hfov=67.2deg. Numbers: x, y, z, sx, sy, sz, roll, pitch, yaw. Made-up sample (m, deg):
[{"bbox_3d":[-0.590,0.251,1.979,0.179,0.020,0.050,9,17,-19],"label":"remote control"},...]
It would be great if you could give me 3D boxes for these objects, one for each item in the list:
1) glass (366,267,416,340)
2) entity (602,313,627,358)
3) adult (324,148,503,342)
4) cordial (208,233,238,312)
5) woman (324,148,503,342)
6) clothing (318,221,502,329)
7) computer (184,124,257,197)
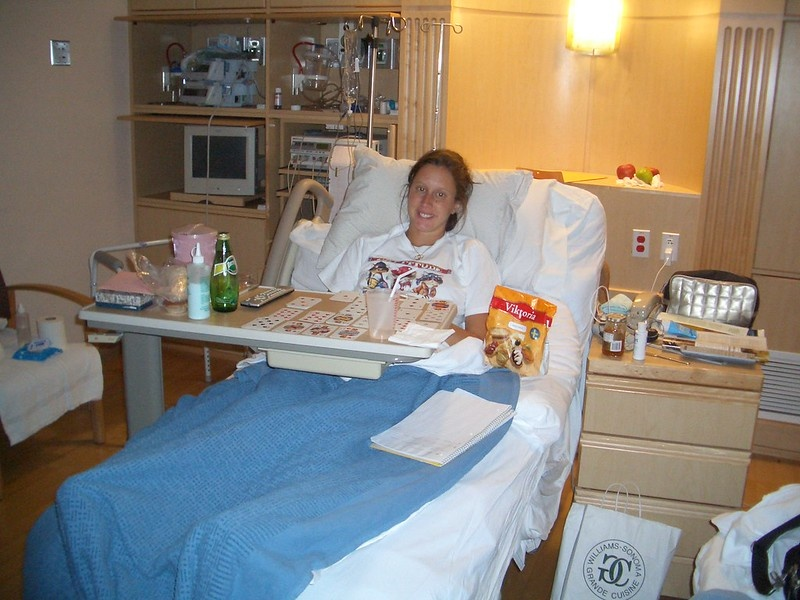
[{"bbox_3d":[-0.059,0.030,1.862,0.102,0.173,0.173,8,12,36],"label":"glass"},{"bbox_3d":[0.811,0.137,2.290,0.088,0.145,0.090,4,13,15],"label":"entity"},{"bbox_3d":[0.042,-0.207,2.482,0.773,0.834,0.492,12,2,17],"label":"adult"},{"bbox_3d":[-0.561,-0.088,1.917,0.122,0.242,0.122,8,17,5],"label":"cordial"},{"bbox_3d":[0.065,-0.204,2.391,0.646,0.610,0.402,19,13,16],"label":"woman"},{"bbox_3d":[0.038,-0.082,2.547,0.830,0.318,0.400,5,-4,-5],"label":"clothing"},{"bbox_3d":[-1.140,-0.904,3.892,0.431,0.383,0.231,4,12,12],"label":"computer"}]
